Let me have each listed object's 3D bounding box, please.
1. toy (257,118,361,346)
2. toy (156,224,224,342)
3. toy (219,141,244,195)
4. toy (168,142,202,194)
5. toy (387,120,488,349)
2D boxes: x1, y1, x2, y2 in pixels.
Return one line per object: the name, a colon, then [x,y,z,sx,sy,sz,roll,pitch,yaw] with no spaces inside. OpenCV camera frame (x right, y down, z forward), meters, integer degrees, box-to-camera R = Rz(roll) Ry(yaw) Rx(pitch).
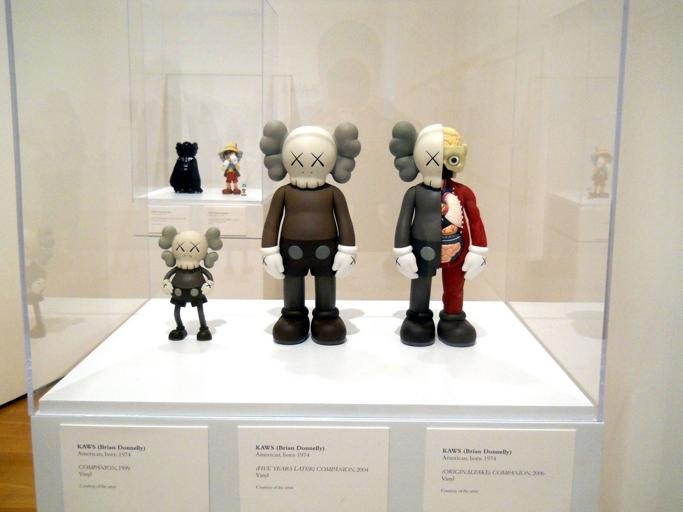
toy: [-0.098,-0.071,1.943,0.287,0.658,0.111,3,11,12]
toy: [-0.460,0.077,1.973,0.177,0.341,0.132,-5,12,-23]
toy: [-0.347,-0.274,2.032,0.074,0.154,0.128,-2,12,-11]
toy: [-0.497,-0.287,2.072,0.104,0.161,0.113,-1,11,-5]
toy: [0.288,-0.065,1.941,0.292,0.663,0.107,1,11,6]
